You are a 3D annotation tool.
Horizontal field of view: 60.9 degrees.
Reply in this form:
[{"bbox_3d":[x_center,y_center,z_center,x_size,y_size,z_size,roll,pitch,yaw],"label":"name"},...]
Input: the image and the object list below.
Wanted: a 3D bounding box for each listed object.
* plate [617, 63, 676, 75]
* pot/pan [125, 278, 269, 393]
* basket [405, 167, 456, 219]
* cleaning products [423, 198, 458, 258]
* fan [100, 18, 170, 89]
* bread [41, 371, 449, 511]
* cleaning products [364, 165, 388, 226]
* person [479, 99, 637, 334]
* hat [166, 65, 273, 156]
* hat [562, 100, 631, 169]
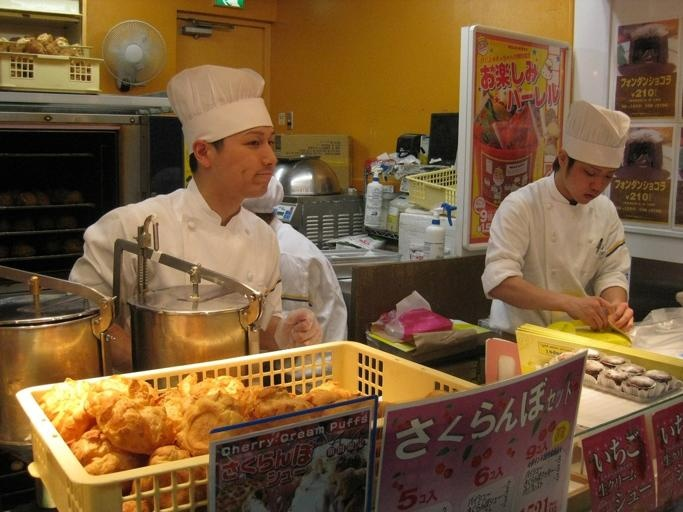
[{"bbox_3d":[1.566,-0.968,2.996,0.015,0.069,0.278,-10,13,-41],"label":"plate"},{"bbox_3d":[-0.312,0.137,1.261,0.233,0.217,0.226,-1,2,-3],"label":"pot/pan"},{"bbox_3d":[0.654,-0.406,3.554,0.321,0.154,0.436,23,31,37],"label":"basket"},{"bbox_3d":[0.536,-0.150,3.240,0.218,0.289,0.151,-11,13,-43],"label":"cleaning products"},{"bbox_3d":[-1.856,-1.801,5.259,0.533,0.651,0.394,-8,29,-21],"label":"fan"},{"bbox_3d":[-0.253,0.258,1.019,0.467,0.091,0.304,-2,10,-32],"label":"bread"},{"bbox_3d":[0.217,-0.358,4.056,0.181,0.323,0.158,3,10,24],"label":"cleaning products"},{"bbox_3d":[0.855,-0.121,2.341,0.571,0.990,0.708,3,10,24],"label":"person"},{"bbox_3d":[-0.352,-0.438,1.774,0.264,0.217,0.262,-7,-2,21],"label":"hat"},{"bbox_3d":[1.035,-0.506,2.360,0.240,0.202,0.260,0,18,-26],"label":"hat"}]
